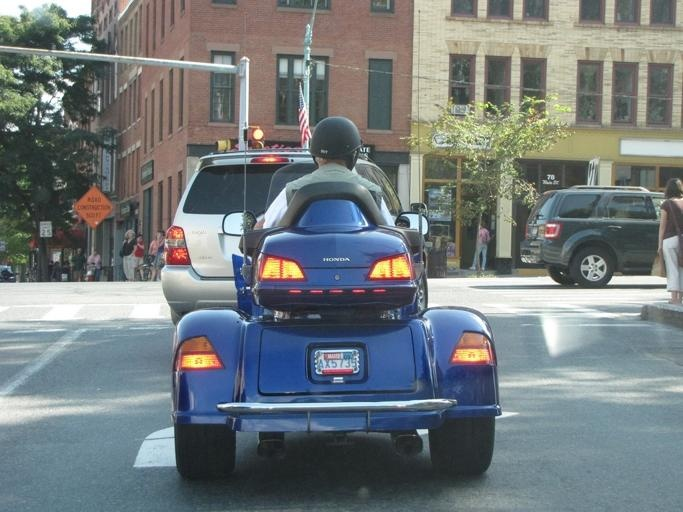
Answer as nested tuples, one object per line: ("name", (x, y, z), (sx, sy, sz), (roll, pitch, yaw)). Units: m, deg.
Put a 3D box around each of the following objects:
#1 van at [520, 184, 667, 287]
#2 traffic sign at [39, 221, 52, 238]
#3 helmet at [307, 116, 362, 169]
("van", (5.336, -0.544, 24.844), (3.325, 1.482, 1.607), (-4, 3, -15))
("traffic sign", (-13.471, -1.225, 51.930), (0.730, 0.860, 0.088), (1, -12, -18))
("helmet", (-0.037, -0.954, 9.354), (0.349, 0.402, 0.425), (4, 25, 11))
